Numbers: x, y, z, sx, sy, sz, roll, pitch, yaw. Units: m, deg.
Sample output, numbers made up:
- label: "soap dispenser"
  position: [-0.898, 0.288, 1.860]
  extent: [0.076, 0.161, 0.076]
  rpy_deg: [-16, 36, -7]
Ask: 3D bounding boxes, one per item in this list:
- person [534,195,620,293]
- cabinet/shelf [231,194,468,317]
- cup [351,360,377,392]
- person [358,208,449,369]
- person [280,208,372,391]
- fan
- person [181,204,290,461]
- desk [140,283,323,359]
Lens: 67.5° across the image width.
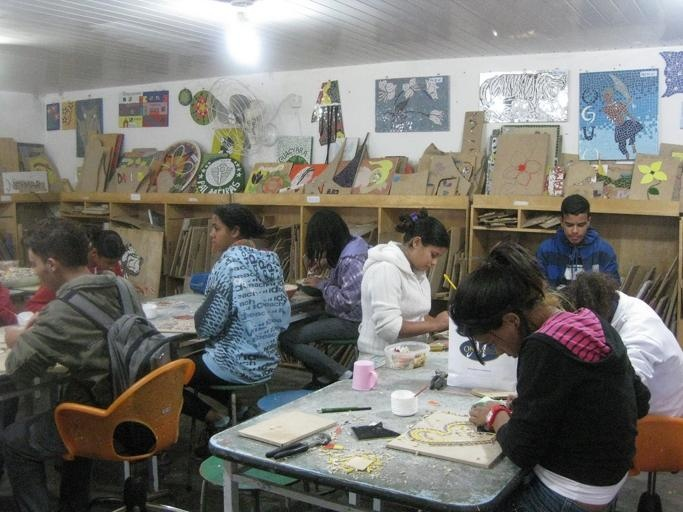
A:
- label: "person"
  position: [1.992, -0.232, 4.293]
  extent: [0.771, 0.874, 0.668]
  rpy_deg: [8, 13, 31]
- label: "cabinet/shelf"
  position: [-0.173, 0.070, 5.475]
  extent: [3.089, 1.412, 0.516]
  rpy_deg: [2, 2, 26]
- label: "cup"
  position: [0.106, 0.561, 2.385]
  extent: [0.104, 0.099, 0.144]
  rpy_deg: [1, -9, -6]
- label: "person"
  position: [0.352, 0.157, 3.174]
  extent: [0.595, 0.886, 0.514]
  rpy_deg: [5, 11, 21]
- label: "person"
  position: [-0.056, 0.394, 4.191]
  extent: [0.995, 1.472, 0.775]
  rpy_deg: [1, 2, 7]
- label: "fan"
  position: [-1.061, -1.685, 6.162]
  extent: [1.096, 0.761, 0.466]
  rpy_deg: [7, 11, 25]
- label: "person"
  position: [-0.792, 0.498, 3.486]
  extent: [1.003, 1.571, 0.795]
  rpy_deg: [-2, -6, 34]
- label: "desk"
  position: [-0.994, 0.377, 3.816]
  extent: [0.957, 0.334, 1.309]
  rpy_deg: [7, 11, 38]
